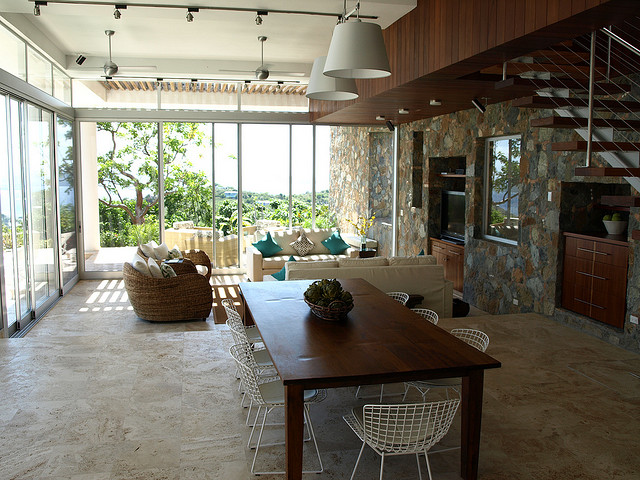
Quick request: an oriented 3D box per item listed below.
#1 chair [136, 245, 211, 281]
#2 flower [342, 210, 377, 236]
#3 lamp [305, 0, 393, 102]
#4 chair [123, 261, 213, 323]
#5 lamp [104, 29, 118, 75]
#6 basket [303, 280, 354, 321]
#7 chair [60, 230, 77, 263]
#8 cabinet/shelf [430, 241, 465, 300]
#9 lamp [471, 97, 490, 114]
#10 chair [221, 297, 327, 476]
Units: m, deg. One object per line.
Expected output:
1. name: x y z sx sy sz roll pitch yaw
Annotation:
1. chair: -2.736 0.366 8.506 0.932 0.628 1.026 1 7 -9
2. flower: 1.122 -0.430 12.192 0.737 0.643 0.751 -8 10 -39
3. lamp: 0.258 -1.638 4.470 0.535 0.997 1.415 0 -1 -10
4. chair: -2.454 0.730 7.623 1.091 0.791 1.087 -1 4 -24
5. lamp: -3.843 -3.279 8.538 0.213 0.556 1.840 -6 9 -24
6. basket: 0.063 0.538 4.442 0.380 0.204 0.413 1 8 -9
7. chair: -5.230 0.141 9.681 0.354 0.615 0.645 -1 7 -29
8. cabinet/shelf: 2.392 0.582 8.604 0.386 0.649 1.073 1 6 -4
9. lamp: 2.678 -2.227 7.743 0.082 0.311 0.333 -28 36 7
10. chair: -0.378 1.291 4.056 0.440 0.520 1.271 -3 8 -14
